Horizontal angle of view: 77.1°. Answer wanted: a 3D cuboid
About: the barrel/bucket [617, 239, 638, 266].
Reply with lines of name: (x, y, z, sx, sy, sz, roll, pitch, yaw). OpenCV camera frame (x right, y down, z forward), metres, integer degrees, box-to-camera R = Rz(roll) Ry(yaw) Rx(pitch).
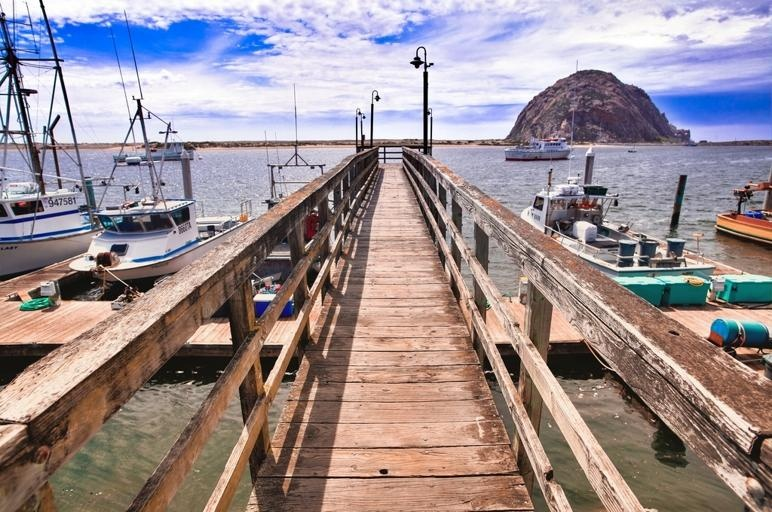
barrel/bucket: (7.056, -0.061, 14.140, 0.447, 0.726, 0.529, 9, 21, 26)

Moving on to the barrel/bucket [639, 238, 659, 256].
barrel/bucket: (7.804, -0.227, 14.463, 0.600, 0.374, 0.554, -5, 1, 0)
